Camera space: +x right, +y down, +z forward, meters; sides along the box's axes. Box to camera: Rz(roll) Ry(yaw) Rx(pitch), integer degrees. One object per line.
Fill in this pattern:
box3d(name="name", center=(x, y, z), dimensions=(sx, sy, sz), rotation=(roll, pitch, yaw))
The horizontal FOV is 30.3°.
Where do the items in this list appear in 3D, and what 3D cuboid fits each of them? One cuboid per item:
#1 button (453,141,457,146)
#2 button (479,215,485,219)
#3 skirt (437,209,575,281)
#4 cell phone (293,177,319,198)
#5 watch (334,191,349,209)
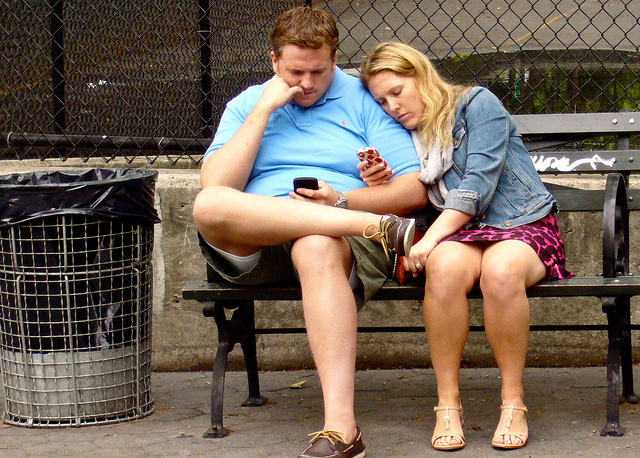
box3d(name="button", center=(0.779, -0.508, 6.934), dimensions=(0.030, 0.025, 0.009), rotation=(2, -8, 9))
box3d(name="button", center=(0.928, -0.071, 6.880), dimensions=(0.031, 0.007, 0.030), rotation=(-36, 10, -9))
box3d(name="skirt", center=(0.997, 0.133, 6.912), dimensions=(0.872, 0.400, 1.062), rotation=(2, 8, 28))
box3d(name="cell phone", center=(-0.095, -0.242, 6.793), dimensions=(0.133, 0.121, 0.130), rotation=(-4, 3, -24))
box3d(name="watch", center=(0.118, -0.170, 6.798), dimensions=(0.076, 0.096, 0.100), rotation=(-4, 35, -12))
